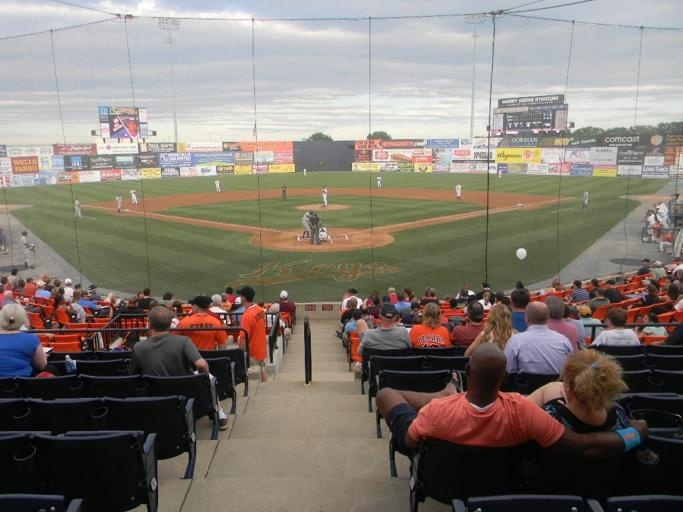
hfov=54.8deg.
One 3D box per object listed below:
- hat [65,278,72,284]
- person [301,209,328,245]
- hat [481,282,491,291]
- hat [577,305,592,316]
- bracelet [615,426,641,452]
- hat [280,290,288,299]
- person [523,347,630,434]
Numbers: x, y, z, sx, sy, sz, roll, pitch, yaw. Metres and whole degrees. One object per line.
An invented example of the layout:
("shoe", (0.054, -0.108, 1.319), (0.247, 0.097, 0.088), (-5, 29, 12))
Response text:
("hat", (-8.386, 0.749, 20.139), (0.175, 0.179, 0.215), (5, 17, 0))
("person", (-1.146, -1.223, 27.554), (1.121, 1.359, 2.077), (-4, 7, -6))
("hat", (3.768, 0.795, 17.322), (0.312, 0.212, 0.435), (3, 17, 9))
("hat", (4.288, 0.974, 11.599), (0.208, 0.216, 0.238), (4, 18, 10))
("bracelet", (2.779, 1.793, 6.384), (0.241, 0.248, 0.132), (-3, 8, 7))
("hat", (-1.387, 0.927, 15.619), (0.242, 0.191, 0.310), (1, 13, -3))
("person", (2.379, 1.219, 6.644), (0.753, 1.069, 0.961), (-2, 27, 4))
